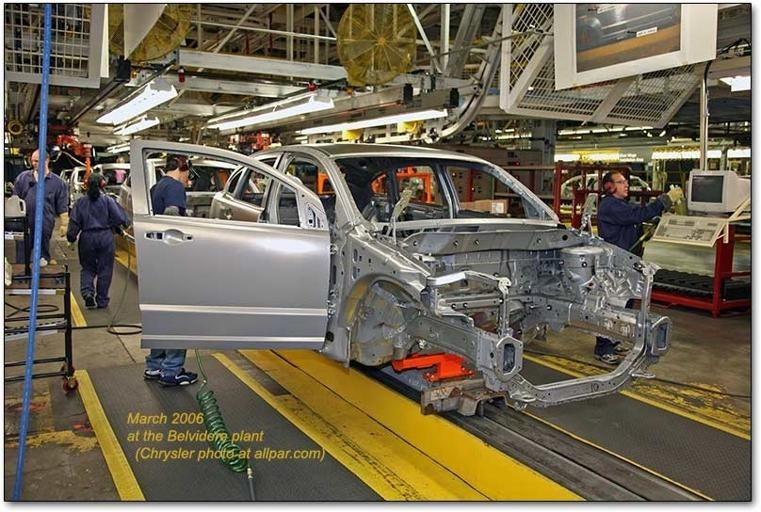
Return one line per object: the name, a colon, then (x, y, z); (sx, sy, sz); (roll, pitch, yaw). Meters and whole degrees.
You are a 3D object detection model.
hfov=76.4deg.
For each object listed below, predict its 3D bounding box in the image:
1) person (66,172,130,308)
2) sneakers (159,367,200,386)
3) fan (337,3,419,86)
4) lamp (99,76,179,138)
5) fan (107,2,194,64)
person: (-4.453, -0.085, 7.602); (0.852, 1.864, 0.489); (-3, 14, -17)
sneakers: (-2.175, 1.290, 5.296); (0.464, 0.200, 0.164); (-1, 4, -28)
fan: (-0.079, -2.725, 6.130); (1.023, 1.019, 0.451); (2, 4, -20)
lamp: (-5.148, -3.097, 10.150); (0.698, 0.387, 3.906); (-16, 9, -39)
fan: (-2.545, -2.522, 5.384); (0.768, 0.581, 1.436); (-8, 15, -36)
